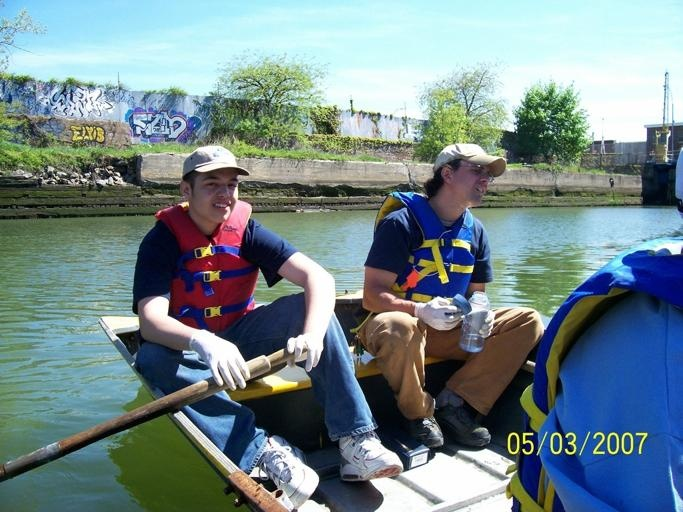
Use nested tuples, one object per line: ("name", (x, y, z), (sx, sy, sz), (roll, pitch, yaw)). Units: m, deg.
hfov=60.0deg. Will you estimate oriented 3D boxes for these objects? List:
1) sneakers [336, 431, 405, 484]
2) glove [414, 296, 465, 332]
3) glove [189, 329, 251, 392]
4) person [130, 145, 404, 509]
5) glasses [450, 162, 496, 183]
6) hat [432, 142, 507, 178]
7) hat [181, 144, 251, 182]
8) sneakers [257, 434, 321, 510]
("sneakers", (0.138, 0.982, 2.817), (0.306, 0.257, 0.119), (10, 13, 42))
("glove", (0.534, 0.299, 3.258), (0.220, 0.091, 0.169), (14, 16, 41))
("glove", (-0.530, 0.465, 2.672), (0.180, 0.089, 0.331), (-16, 34, -32))
("person", (-0.462, 0.282, 3.001), (0.941, 1.668, 1.298), (-8, 14, -43))
("glasses", (0.793, -0.550, 3.712), (0.144, 0.052, 0.193), (23, -10, -34))
("hat", (0.816, -0.638, 3.785), (0.386, 0.177, 0.252), (2, 2, 26))
("hat", (-0.724, -0.525, 3.234), (0.220, 0.142, 0.298), (-3, -2, -43))
("sneakers", (-0.266, 1.006, 2.734), (0.286, 0.226, 0.350), (-1, 10, -11))
